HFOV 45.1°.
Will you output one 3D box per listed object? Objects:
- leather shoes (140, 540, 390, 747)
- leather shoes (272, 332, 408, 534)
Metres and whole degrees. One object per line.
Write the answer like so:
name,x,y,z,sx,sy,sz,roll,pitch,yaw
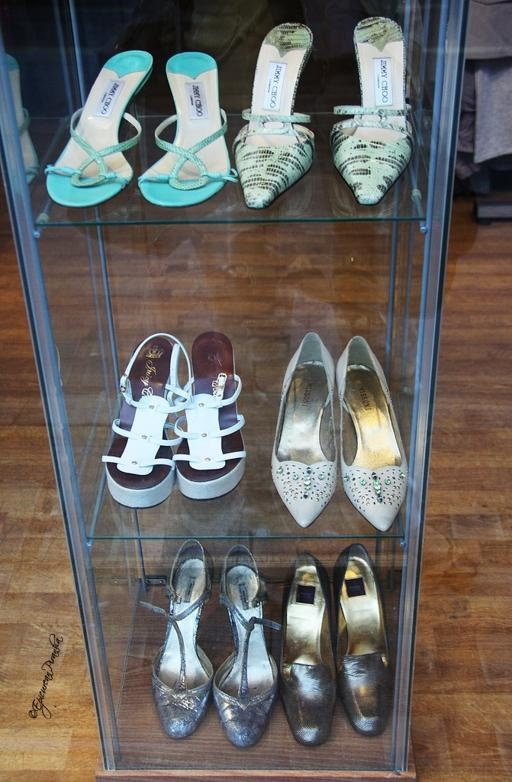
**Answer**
leather shoes,0.064,0.476,1.097,0.365,0.104,0.293,-1,59,5
leather shoes,0.114,0.065,0.862,0.140,0.059,0.275,-1,51,9
